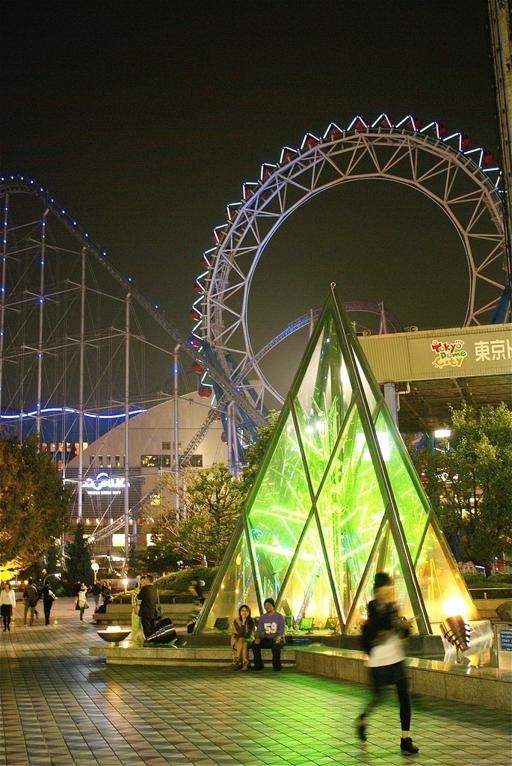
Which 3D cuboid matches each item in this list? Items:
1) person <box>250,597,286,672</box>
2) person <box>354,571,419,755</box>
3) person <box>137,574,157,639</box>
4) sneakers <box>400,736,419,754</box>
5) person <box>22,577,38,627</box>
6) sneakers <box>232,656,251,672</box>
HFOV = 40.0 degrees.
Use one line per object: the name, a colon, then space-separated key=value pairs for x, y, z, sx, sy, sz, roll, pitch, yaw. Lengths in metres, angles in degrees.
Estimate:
person: x=0.162 y=3.776 z=10.539 sx=0.477 sy=0.965 sz=0.614 roll=-3 pitch=-11 yaw=2
person: x=0.984 y=2.112 z=5.414 sx=0.468 sy=1.344 sz=1.296 roll=-4 pitch=-11 yaw=7
person: x=-1.879 y=3.825 z=12.020 sx=0.335 sy=1.020 sz=0.691 roll=-1 pitch=-11 yaw=-10
sneakers: x=1.056 y=2.494 z=4.831 sx=0.065 sy=0.082 sz=0.183 roll=0 pitch=-21 yaw=-8
person: x=-7.211 y=7.005 z=22.312 sx=0.372 sy=1.224 sz=1.863 roll=1 pitch=-11 yaw=-18
sneakers: x=-0.249 y=4.216 z=10.520 sx=0.266 sy=0.165 sz=0.136 roll=4 pitch=-9 yaw=16
